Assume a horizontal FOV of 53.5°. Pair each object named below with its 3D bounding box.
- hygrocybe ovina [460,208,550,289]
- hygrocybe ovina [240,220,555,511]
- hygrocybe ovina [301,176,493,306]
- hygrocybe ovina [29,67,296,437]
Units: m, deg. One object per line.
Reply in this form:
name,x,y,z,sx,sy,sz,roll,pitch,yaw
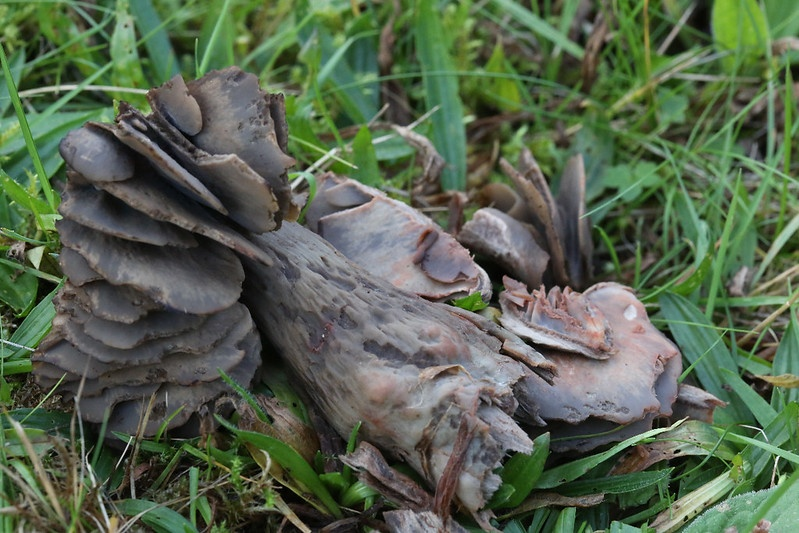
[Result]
hygrocybe ovina,0.352,-0.118,2.730,0.348,0.150,0.226,18,30,-15
hygrocybe ovina,-0.034,0.233,2.351,0.981,0.331,0.494,25,59,18
hygrocybe ovina,-0.019,-0.074,2.525,0.614,0.171,0.329,40,72,5
hygrocybe ovina,-0.671,-0.032,2.298,0.582,0.701,0.908,21,57,17
